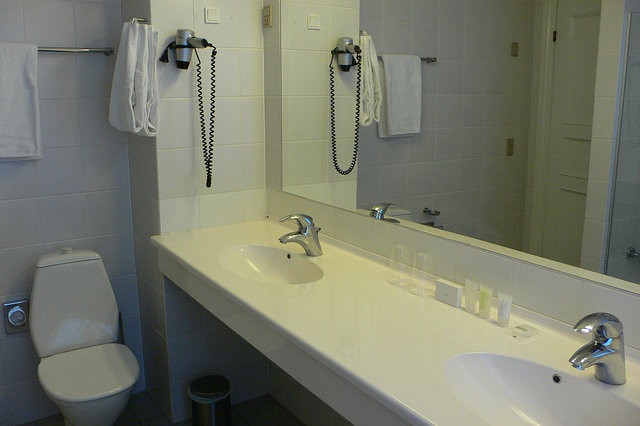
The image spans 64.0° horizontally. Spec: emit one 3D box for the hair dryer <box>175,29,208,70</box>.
[{"bbox_3d":[-0.686,-0.873,2.739,0.202,0.206,0.106,14,17,21],"label":"hair dryer"}]

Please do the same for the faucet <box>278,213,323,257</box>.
[{"bbox_3d":[-0.085,0.118,2.627,0.249,0.260,0.084,-15,25,-28],"label":"faucet"}]

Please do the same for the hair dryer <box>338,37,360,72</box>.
[{"bbox_3d":[0.143,-0.807,2.606,0.030,0.170,0.177,-9,18,-27],"label":"hair dryer"}]

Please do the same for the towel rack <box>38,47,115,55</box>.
[{"bbox_3d":[-1.391,-0.916,2.892,0.413,0.061,0.060,-4,8,-14],"label":"towel rack"}]

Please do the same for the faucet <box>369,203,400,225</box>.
[{"bbox_3d":[0.296,-0.008,2.449,0.055,0.092,0.165,-2,11,-31],"label":"faucet"}]

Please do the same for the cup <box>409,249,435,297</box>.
[{"bbox_3d":[0.445,0.238,2.221,0.108,0.189,0.156,2,16,11],"label":"cup"}]

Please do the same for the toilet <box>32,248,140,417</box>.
[{"bbox_3d":[-1.292,0.699,2.772,0.434,0.931,0.768,-5,11,-28],"label":"toilet"}]
